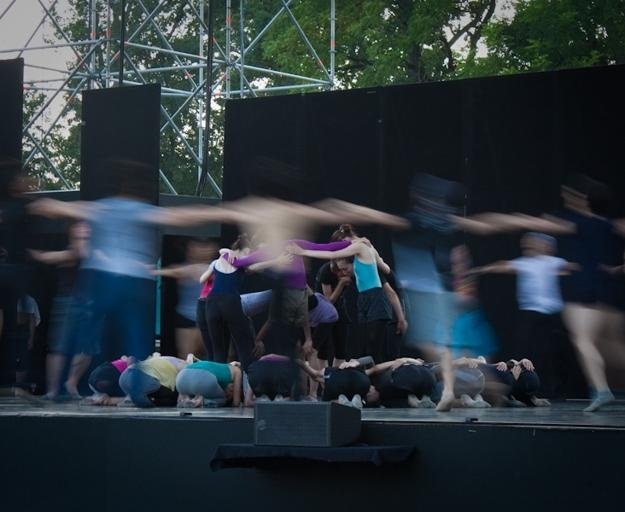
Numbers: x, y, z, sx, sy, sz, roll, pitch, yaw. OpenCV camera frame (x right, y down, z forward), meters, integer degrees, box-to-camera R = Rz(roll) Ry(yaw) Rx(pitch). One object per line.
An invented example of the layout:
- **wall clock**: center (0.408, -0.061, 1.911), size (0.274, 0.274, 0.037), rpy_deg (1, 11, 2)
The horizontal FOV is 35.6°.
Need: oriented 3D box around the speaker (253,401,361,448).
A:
- **speaker**: center (-0.054, 1.115, 6.459), size (0.647, 0.306, 0.264), rpy_deg (2, -4, -11)
